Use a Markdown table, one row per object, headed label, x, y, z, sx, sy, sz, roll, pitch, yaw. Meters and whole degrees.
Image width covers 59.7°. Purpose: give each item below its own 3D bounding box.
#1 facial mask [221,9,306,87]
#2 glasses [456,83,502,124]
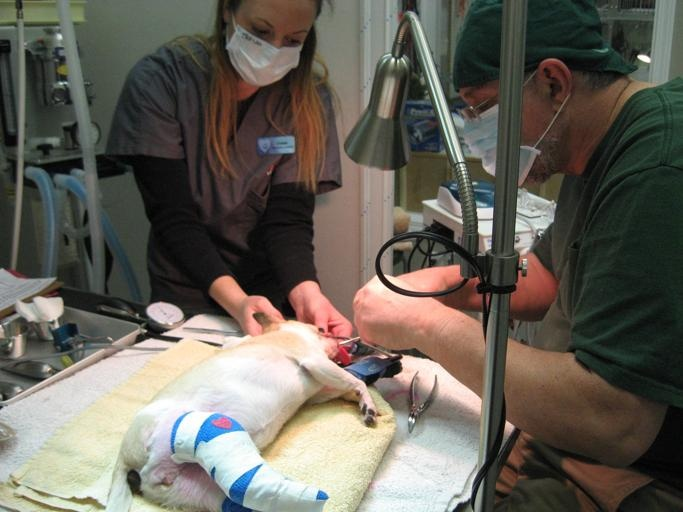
| label | x | y | z | sx | sy | sz | roll | pitch | yaw |
| --- | --- | --- | --- | --- | --- | --- | --- | --- | --- |
| facial mask | -0.298 | -0.745 | 2.166 | 0.299 | 0.229 | 0.166 | 2 | 12 | 7 |
| glasses | 0.359 | -0.405 | 1.583 | 0.057 | 0.084 | 0.086 | -22 | 33 | -40 |
